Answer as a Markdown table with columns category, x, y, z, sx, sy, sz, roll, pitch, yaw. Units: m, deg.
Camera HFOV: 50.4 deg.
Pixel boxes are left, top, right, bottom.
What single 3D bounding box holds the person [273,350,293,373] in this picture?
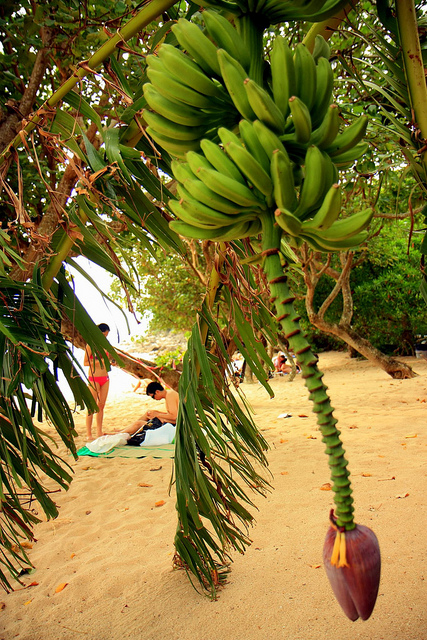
| category | x | y | z | sx | sy | sz | roll | pitch | yaw |
| --- | --- | --- | --- | --- | --- | --- | --- | --- | --- |
| person | 2.215 | 1.371 | 14.892 | 0.429 | 0.623 | 1.816 | -9 | 6 | 6 |

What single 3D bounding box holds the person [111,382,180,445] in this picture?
| category | x | y | z | sx | sy | sz | roll | pitch | yaw |
| --- | --- | --- | --- | --- | --- | --- | --- | --- | --- |
| person | -1.050 | 1.427 | 7.191 | 1.223 | 0.788 | 0.601 | -6 | -2 | -17 |

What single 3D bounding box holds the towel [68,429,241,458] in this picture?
| category | x | y | z | sx | sy | sz | roll | pitch | yaw |
| --- | --- | --- | --- | --- | --- | --- | --- | --- | --- |
| towel | -1.197 | 1.834 | 6.305 | 1.450 | 0.205 | 0.616 | -8 | 7 | 13 |

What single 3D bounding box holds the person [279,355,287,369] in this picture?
| category | x | y | z | sx | sy | sz | roll | pitch | yaw |
| --- | --- | --- | --- | --- | --- | --- | --- | --- | --- |
| person | 2.212 | 1.283 | 14.539 | 0.169 | 0.760 | 0.213 | 7 | 30 | 8 |
